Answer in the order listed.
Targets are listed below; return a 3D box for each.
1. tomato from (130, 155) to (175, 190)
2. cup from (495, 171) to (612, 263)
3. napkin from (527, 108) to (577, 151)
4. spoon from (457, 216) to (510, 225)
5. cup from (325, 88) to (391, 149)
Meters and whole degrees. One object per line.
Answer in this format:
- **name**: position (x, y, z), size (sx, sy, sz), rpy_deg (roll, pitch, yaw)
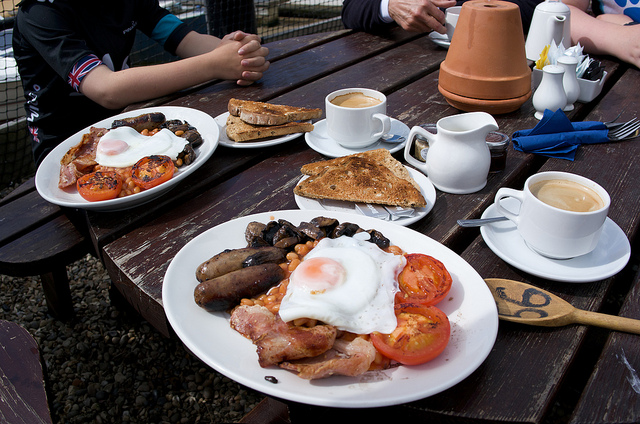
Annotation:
- **tomato**: position (-0.873, -0.210, 2.240), size (0.212, 0.071, 0.206), rpy_deg (-36, 55, -26)
- **cup**: position (1.030, 0.023, 1.952), size (0.440, 0.298, 0.362), rpy_deg (10, 34, 19)
- **napkin**: position (1.330, -0.465, 2.470), size (0.222, 0.093, 0.235), rpy_deg (2, 33, 26)
- **spoon**: position (0.760, 0.043, 1.992), size (0.342, 0.030, 0.052), rpy_deg (1, 80, -7)
- **cup**: position (0.238, -0.511, 2.512), size (0.321, 0.272, 0.423), rpy_deg (-20, 35, -24)
